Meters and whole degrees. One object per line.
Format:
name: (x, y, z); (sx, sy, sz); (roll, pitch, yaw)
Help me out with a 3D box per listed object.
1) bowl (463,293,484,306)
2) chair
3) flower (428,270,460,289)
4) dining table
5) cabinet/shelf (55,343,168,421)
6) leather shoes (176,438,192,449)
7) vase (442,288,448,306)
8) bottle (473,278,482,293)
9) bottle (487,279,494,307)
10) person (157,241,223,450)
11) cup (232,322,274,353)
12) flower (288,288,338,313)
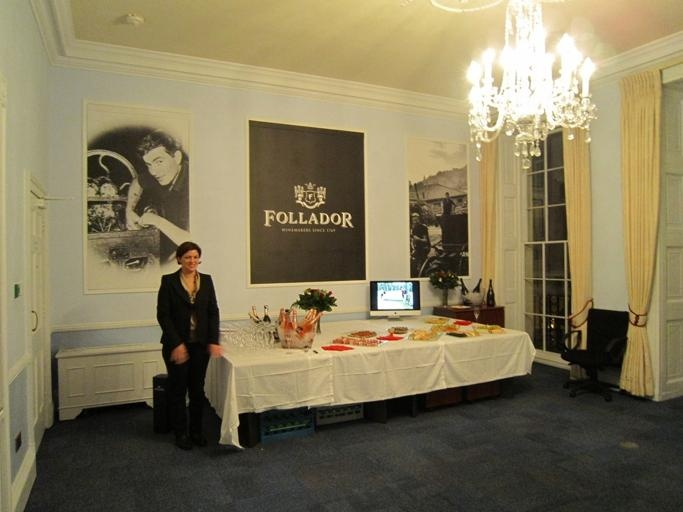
bowl: (2.074, 0.690, 7.721); (0.203, 0.153, 0.209); (0, -3, 0)
chair: (3.390, 1.272, 6.521); (0.748, 1.081, 1.059); (4, 9, 31)
flower: (1.562, 0.379, 7.609); (0.310, 0.190, 0.309); (2, 0, -28)
dining table: (0.321, 1.243, 6.087); (3.878, 1.135, 1.692); (-4, 8, -23)
cabinet/shelf: (-2.839, 1.546, 5.998); (1.181, 0.785, 0.383); (2, -2, -37)
leather shoes: (-1.605, 1.923, 4.970); (0.073, 0.080, 0.190); (4, -6, -41)
vase: (1.652, 0.645, 7.730); (0.104, 0.305, 0.328); (1, 8, 12)
bottle: (2.233, 0.493, 8.009); (0.106, 0.205, 0.307); (3, 8, 23)
bottle: (2.404, 0.598, 7.825); (0.146, 0.398, 0.383); (2, 8, 18)
person: (-1.554, 0.926, 5.030); (0.621, 2.121, 0.420); (-4, 9, -22)
cup: (-1.011, 0.899, 5.313); (0.285, 0.149, 0.292); (1, -2, 0)
flower: (-0.287, 0.536, 5.933); (0.380, 0.227, 0.396); (3, -2, 7)
